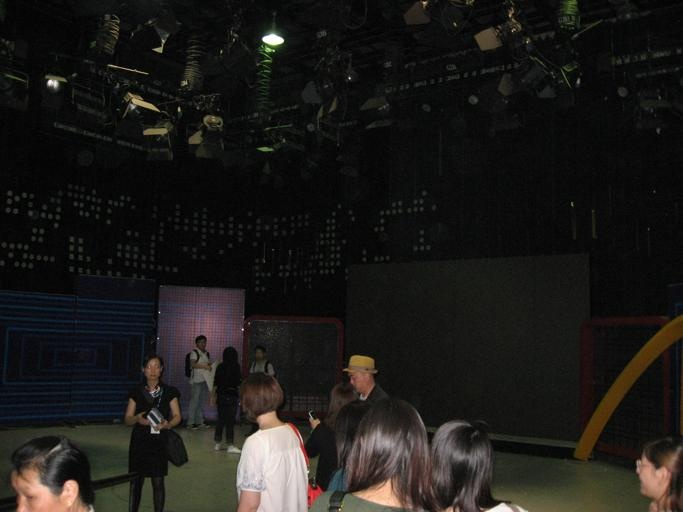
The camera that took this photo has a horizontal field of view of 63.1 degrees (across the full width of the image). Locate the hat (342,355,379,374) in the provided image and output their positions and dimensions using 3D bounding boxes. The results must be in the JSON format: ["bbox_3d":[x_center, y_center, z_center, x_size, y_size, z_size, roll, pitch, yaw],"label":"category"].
[{"bbox_3d":[0.253,1.121,5.658,0.303,0.155,0.391,-6,-23,26],"label":"hat"}]

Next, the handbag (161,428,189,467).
[{"bbox_3d":[-1.525,1.790,5.208,0.221,0.379,0.327,1,-4,8],"label":"handbag"}]

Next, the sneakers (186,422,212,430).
[{"bbox_3d":[-2.688,3.234,10.555,0.450,0.193,0.162,-5,-11,12],"label":"sneakers"}]

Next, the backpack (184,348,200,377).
[{"bbox_3d":[-2.838,2.005,10.385,0.434,0.513,0.337,0,-1,2],"label":"backpack"}]
